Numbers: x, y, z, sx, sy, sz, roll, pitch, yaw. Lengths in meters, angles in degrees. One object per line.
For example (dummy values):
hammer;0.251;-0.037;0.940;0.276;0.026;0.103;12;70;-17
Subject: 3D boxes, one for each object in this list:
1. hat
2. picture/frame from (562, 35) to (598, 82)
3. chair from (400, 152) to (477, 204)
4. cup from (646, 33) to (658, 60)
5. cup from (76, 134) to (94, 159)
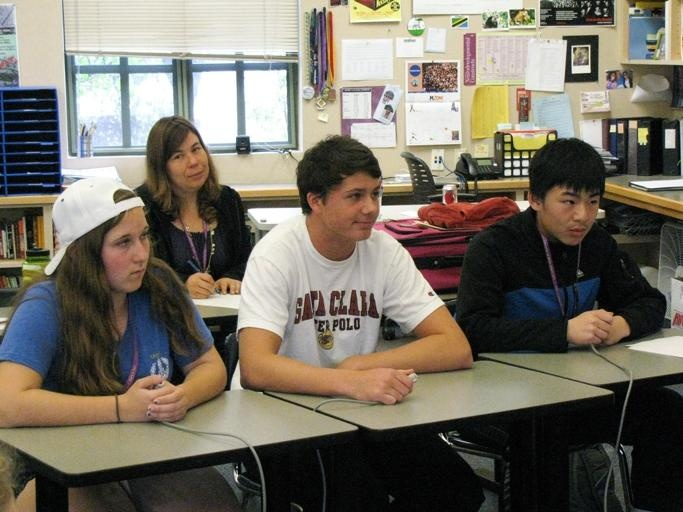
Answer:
hat;-0.667;-0.112;1.726;0.297;0.166;0.202;-29;10;3
picture/frame;2.020;-1.703;5.223;0.377;0.500;0.019;-1;3;-3
chair;0.736;-0.569;4.555;0.507;0.542;0.404;-5;11;-14
cup;2.593;-1.752;5.099;0.083;0.232;0.183;-1;7;12
cup;-2.091;-0.892;4.975;0.112;0.185;0.149;-6;8;-24
